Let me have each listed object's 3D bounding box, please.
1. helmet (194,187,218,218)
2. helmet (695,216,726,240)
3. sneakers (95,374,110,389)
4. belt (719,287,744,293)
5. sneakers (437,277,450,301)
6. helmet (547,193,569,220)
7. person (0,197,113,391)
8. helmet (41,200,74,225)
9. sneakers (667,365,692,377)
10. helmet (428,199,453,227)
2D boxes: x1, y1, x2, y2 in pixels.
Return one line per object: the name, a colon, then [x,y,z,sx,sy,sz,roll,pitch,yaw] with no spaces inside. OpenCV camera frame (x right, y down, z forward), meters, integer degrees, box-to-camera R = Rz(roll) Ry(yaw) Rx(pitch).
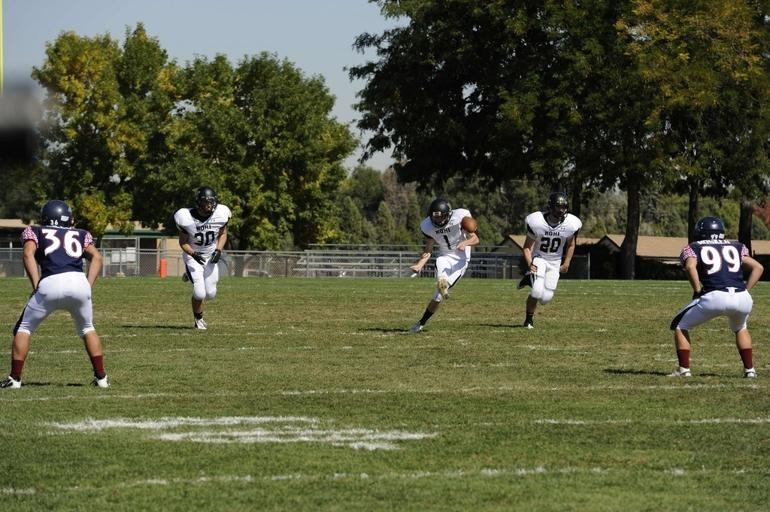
helmet: [-3.659,-1.114,24.464,0.414,0.635,0.416,-1,11,-10]
helmet: [5.525,-0.497,20.416,0.396,0.433,0.463,3,7,-3]
sneakers: [-4.615,2.057,19.579,0.252,0.241,0.154,0,2,14]
belt: [5.811,0.560,19.952,0.354,0.096,0.061,-1,11,-13]
sneakers: [1.166,0.642,23.901,0.174,0.484,0.218,-1,2,2]
helmet: [3.563,-1.034,24.636,0.394,0.602,0.483,2,11,7]
person: [-5.341,0.617,19.448,1.589,2.967,1.000,-2,11,-14]
helmet: [-5.383,-0.724,19.620,0.399,0.415,0.458,1,16,-16]
sneakers: [5.003,1.946,20.368,0.442,0.182,0.169,1,0,20]
helmet: [1.067,-0.930,24.287,0.450,0.545,0.450,-2,-34,23]
